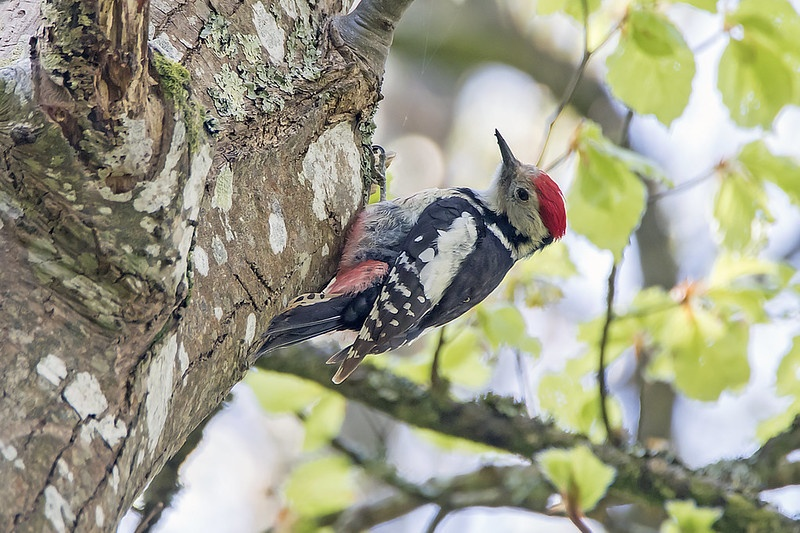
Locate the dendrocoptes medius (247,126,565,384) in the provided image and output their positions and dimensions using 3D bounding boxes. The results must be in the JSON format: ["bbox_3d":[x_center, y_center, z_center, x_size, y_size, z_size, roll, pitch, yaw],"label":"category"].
[{"bbox_3d":[0.042,-0.008,5.662,1.519,1.024,0.489,-6,8,-21],"label":"dendrocoptes medius"}]
